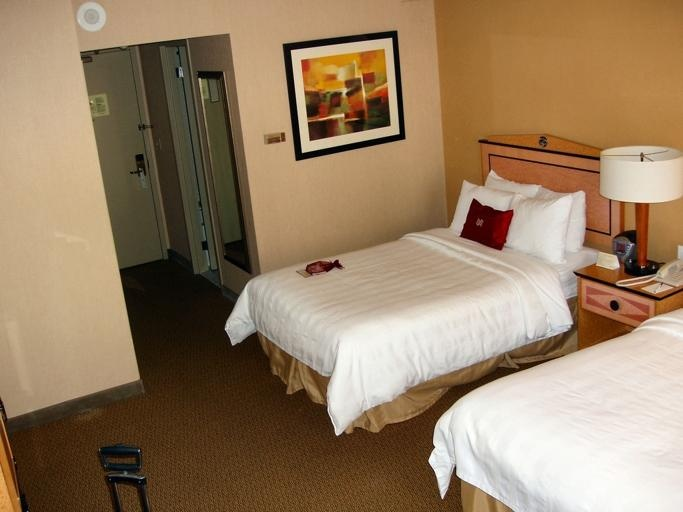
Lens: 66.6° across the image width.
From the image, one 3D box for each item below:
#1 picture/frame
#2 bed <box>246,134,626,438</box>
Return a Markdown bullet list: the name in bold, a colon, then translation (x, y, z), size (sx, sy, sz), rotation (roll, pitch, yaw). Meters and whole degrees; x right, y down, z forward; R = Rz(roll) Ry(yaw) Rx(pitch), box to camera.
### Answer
- **picture/frame**: translation (-0.031, -1.822, 5.777), size (1.244, 1.255, 0.058), rotation (-15, 21, -21)
- **bed**: translation (0.826, -0.039, 5.009), size (2.971, 1.996, 1.929), rotation (-16, 22, -27)
